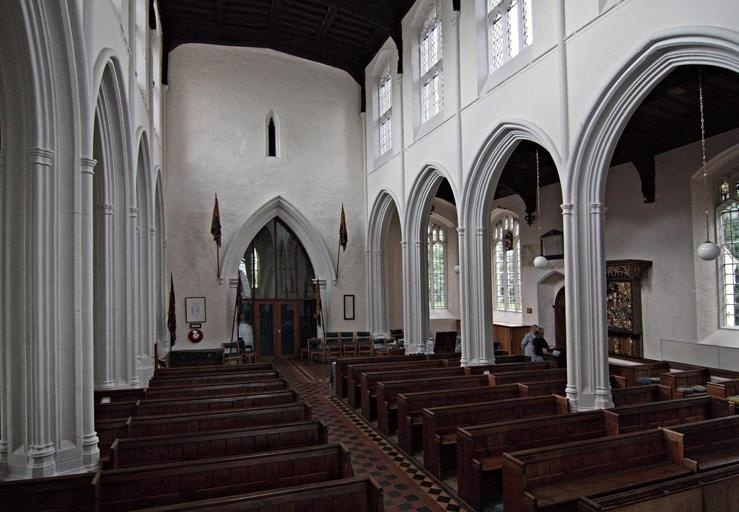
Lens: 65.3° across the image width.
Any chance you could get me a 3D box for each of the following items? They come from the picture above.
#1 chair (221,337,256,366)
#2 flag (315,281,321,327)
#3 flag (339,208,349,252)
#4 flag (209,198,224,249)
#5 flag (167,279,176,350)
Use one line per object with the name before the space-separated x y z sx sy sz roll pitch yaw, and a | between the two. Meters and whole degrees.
chair | -4.644 3.382 20.123 0.916 1.729 1.115 1 -8 -19
flag | -1.960 1.819 22.186 0.185 1.774 0.345 2 -5 -36
flag | -0.986 -1.085 21.889 0.366 1.705 0.933 -1 -4 -2
flag | -5.321 -1.296 19.932 0.396 1.853 1.601 0 -5 -15
flag | -6.633 1.851 19.383 0.307 2.551 1.289 0 -5 -19
